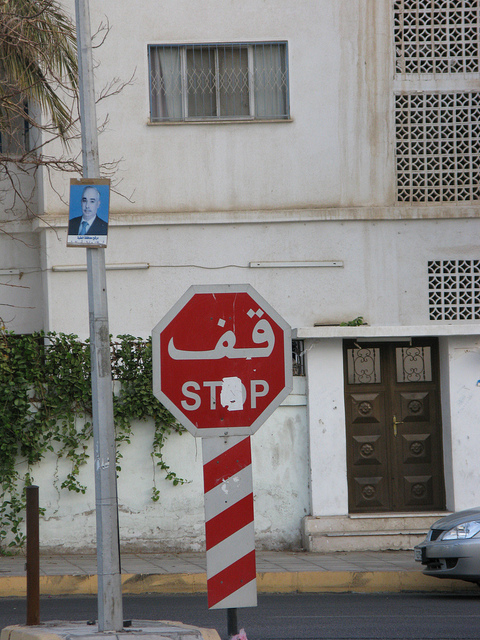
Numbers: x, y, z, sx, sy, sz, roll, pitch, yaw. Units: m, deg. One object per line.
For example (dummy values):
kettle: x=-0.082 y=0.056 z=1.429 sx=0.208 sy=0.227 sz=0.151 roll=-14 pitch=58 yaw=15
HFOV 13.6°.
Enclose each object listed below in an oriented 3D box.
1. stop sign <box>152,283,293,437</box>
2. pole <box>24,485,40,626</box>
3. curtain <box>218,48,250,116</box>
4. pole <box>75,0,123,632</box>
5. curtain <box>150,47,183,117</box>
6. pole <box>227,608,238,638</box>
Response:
stop sign: x=-0.164 y=0.372 z=19.490 sx=1.338 sy=1.940 sz=0.095 roll=-1 pitch=-41 yaw=-2
pole: x=-2.179 y=2.476 z=21.264 sx=0.130 sy=1.453 sz=0.469 roll=-1 pitch=-3 yaw=-4
curtain: x=-0.089 y=-3.325 z=27.353 sx=0.440 sy=0.053 sz=1.312 roll=-2 pitch=-40 yaw=1
pole: x=-1.464 y=-0.160 z=21.020 sx=0.327 sy=6.735 sz=0.772 roll=-1 pitch=-3 yaw=-5
curtain: x=-0.985 y=-3.290 z=27.334 sx=0.461 sy=0.017 sz=1.247 roll=-2 pitch=-49 yaw=-3
pole: x=-0.074 y=2.915 z=19.363 sx=0.085 sy=0.280 sz=0.134 roll=-2 pitch=-3 yaw=-3
